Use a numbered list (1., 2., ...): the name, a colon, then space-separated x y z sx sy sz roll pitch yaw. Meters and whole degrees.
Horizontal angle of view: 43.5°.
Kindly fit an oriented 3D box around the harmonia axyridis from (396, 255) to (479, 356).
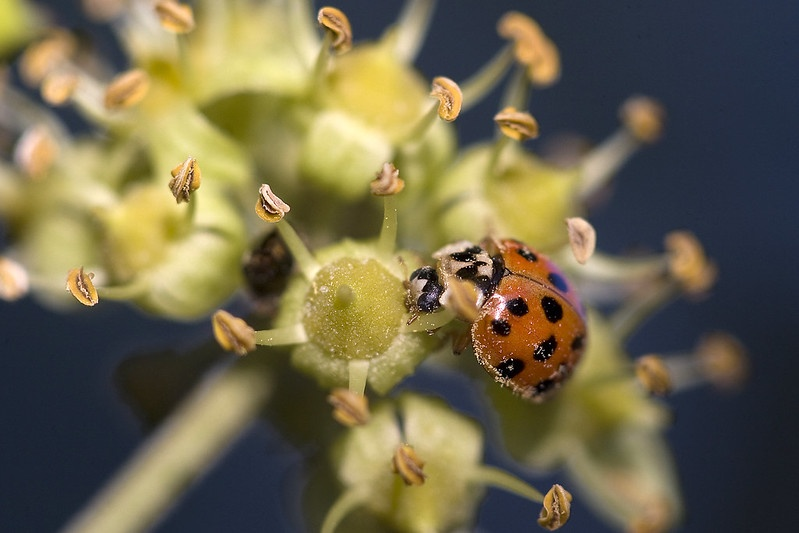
1. harmonia axyridis: 0.105 0.100 2.373 0.185 0.063 0.199 -30 111 -10
